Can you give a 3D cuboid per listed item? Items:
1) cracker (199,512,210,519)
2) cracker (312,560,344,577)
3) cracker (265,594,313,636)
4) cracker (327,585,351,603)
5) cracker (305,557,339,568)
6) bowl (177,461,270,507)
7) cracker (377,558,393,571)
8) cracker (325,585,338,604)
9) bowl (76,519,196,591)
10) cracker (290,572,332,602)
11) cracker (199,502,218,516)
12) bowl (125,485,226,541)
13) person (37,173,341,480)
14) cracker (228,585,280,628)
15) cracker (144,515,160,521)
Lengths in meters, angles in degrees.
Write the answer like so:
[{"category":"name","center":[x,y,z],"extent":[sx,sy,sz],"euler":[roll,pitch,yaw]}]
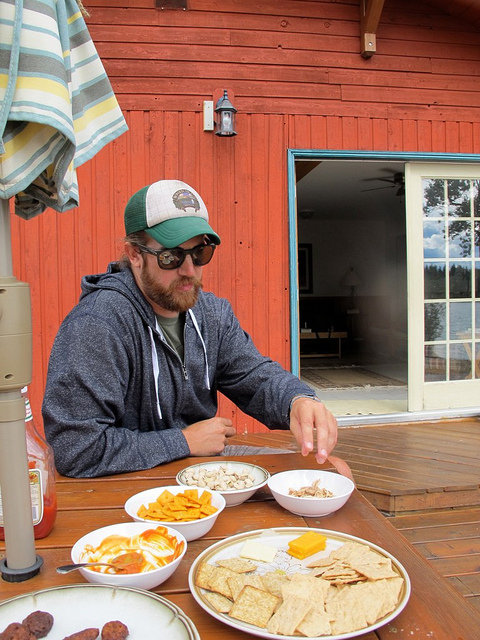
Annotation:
[{"category":"cracker","center":[-0.063,0.339,0.999],"extent":[0.012,0.003,0.011],"euler":[0,4,25]},{"category":"cracker","center":[0.122,0.363,0.844],"extent":[0.016,0.002,0.059],"euler":[0,4,36]},{"category":"cracker","center":[0.060,0.370,0.725],"extent":[0.028,0.005,0.047],"euler":[0,22,39]},{"category":"cracker","center":[0.137,0.370,0.776],"extent":[0.011,0.003,0.032],"euler":[8,16,40]},{"category":"cracker","center":[0.125,0.366,0.868],"extent":[0.028,0.003,0.025],"euler":[-10,2,-43]},{"category":"bowl","center":[-0.021,0.347,1.214],"extent":[0.147,0.040,0.145],"euler":[-5,13,1]},{"category":"cracker","center":[0.218,0.359,0.848],"extent":[0.014,0.013,0.004],"euler":[4,-4,4]},{"category":"cracker","center":[0.124,0.373,0.782],"extent":[0.014,0.004,0.013],"euler":[-50,-1,43]},{"category":"bowl","center":[-0.151,0.362,0.878],"extent":[0.195,0.056,0.189],"euler":[-1,1,0]},{"category":"cracker","center":[0.096,0.366,0.791],"extent":[0.032,0.006,0.030],"euler":[7,8,22]},{"category":"cracker","center":[-0.058,0.336,1.025],"extent":[0.018,0.004,0.018],"euler":[24,19,19]},{"category":"bowl","center":[-0.132,0.331,1.093],"extent":[0.159,0.051,0.153],"euler":[8,-3,0]},{"category":"person","center":[-0.112,0.164,1.713],"extent":[0.950,1.038,0.661],"euler":[5,5,9]},{"category":"cracker","center":[0.021,0.368,0.755],"extent":[0.068,0.058,0.014],"euler":[-16,-46,34]},{"category":"cracker","center":[-0.152,0.341,0.991],"extent":[0.029,0.003,0.010],"euler":[0,2,32]}]
